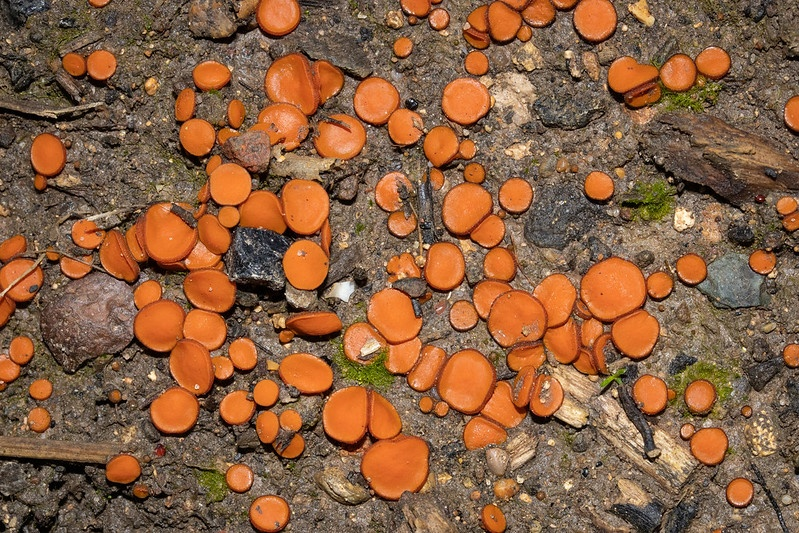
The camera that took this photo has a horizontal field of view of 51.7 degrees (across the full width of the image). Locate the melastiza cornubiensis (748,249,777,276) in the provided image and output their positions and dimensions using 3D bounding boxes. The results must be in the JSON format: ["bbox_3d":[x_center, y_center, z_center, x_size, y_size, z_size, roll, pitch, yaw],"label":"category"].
[{"bbox_3d":[5.717,-0.067,12.989,0.379,0.102,0.378,2,84,-3],"label":"melastiza cornubiensis"}]

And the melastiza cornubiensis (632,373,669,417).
[{"bbox_3d":[3.933,2.006,12.994,0.532,0.138,0.586,-20,80,-1],"label":"melastiza cornubiensis"}]
